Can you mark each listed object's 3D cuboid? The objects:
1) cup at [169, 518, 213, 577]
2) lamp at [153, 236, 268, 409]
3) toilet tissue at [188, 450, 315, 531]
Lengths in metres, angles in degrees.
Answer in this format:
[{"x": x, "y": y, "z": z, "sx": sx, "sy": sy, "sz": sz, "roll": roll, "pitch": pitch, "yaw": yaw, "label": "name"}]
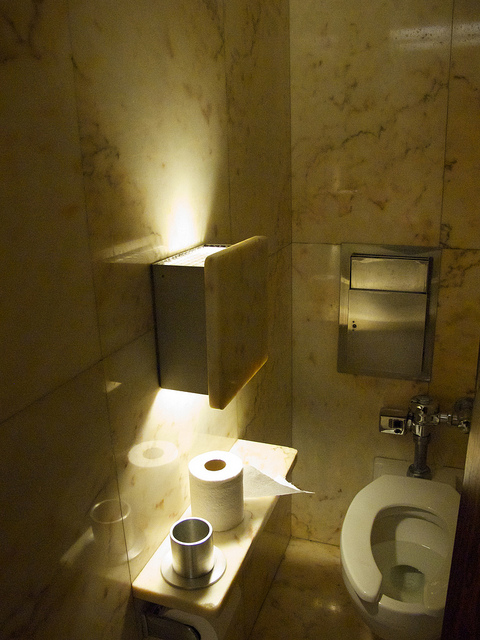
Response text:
[{"x": -0.086, "y": 0.404, "z": 0.885, "sx": 0.076, "sy": 0.088, "sz": 0.089, "roll": 4, "pitch": 7, "yaw": -8, "label": "cup"}, {"x": -0.045, "y": -0.011, "z": 0.923, "sx": 0.116, "sy": 0.274, "sz": 0.238, "roll": 2, "pitch": 12, "yaw": 24, "label": "lamp"}, {"x": 0.001, "y": 0.342, "z": 1.056, "sx": 0.191, "sy": 0.124, "sz": 0.098, "roll": -15, "pitch": 15, "yaw": -29, "label": "toilet tissue"}]
